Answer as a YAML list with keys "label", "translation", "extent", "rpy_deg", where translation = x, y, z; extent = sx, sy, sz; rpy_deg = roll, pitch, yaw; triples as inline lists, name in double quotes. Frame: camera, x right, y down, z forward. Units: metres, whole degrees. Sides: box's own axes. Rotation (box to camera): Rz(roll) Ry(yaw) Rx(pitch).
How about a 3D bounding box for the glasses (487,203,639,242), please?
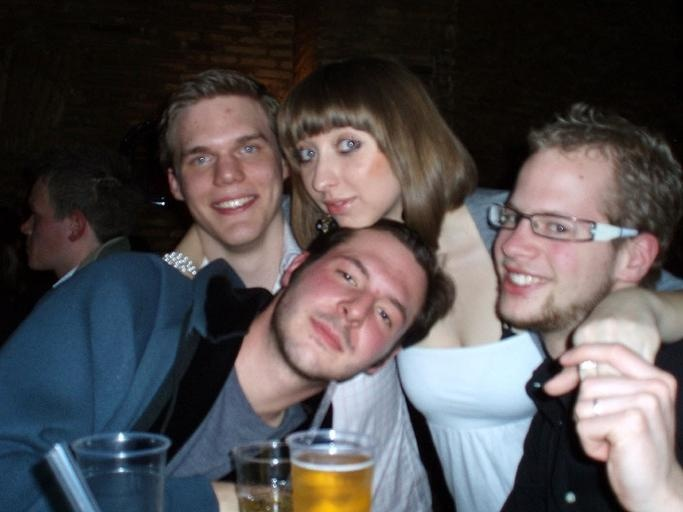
- label: "glasses"
  translation: [0.788, -0.112, 2.141]
  extent: [0.459, 0.107, 0.173]
  rpy_deg: [5, 16, 25]
